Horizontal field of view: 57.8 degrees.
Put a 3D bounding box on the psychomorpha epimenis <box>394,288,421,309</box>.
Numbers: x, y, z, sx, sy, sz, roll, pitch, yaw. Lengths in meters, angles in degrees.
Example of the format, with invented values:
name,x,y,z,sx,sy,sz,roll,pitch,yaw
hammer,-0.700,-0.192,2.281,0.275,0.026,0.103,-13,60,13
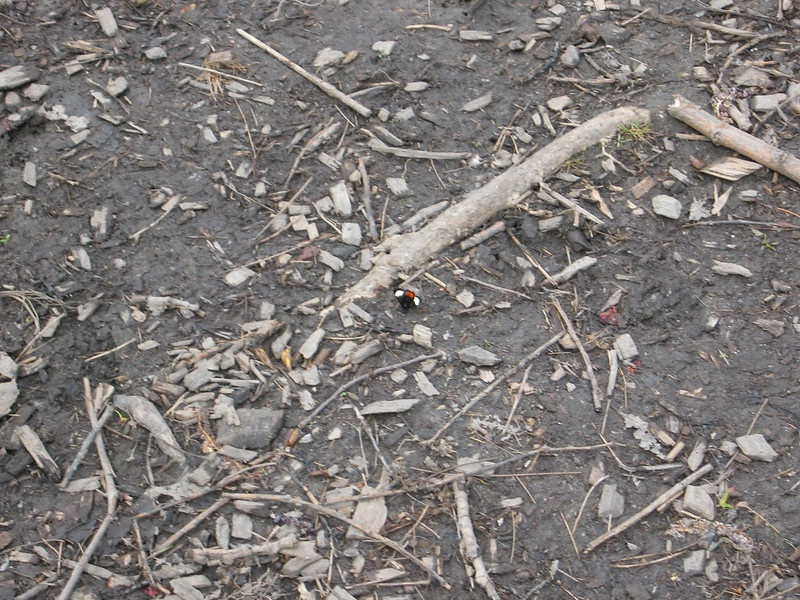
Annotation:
name,x,y,z,sx,sy,sz,roll,pitch,yaw
psychomorpha epimenis,0.078,-0.019,7.394,0.227,0.204,0.173,-20,52,-3
